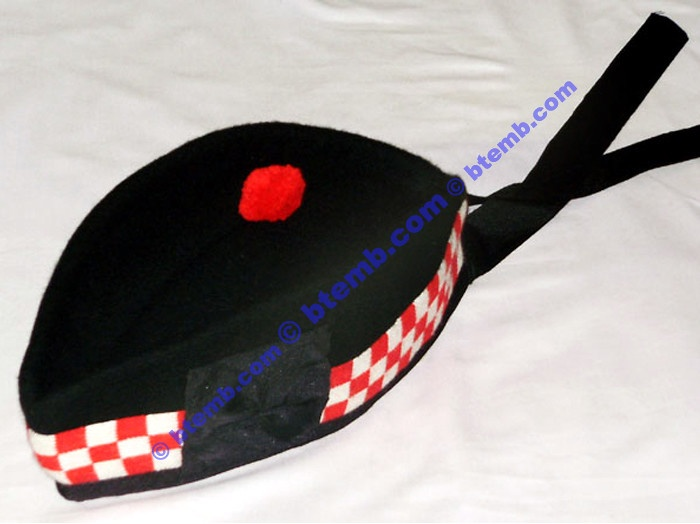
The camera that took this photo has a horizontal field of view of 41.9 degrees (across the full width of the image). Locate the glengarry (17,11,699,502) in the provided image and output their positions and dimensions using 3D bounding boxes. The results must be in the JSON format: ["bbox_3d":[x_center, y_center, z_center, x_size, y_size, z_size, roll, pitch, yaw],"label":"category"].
[{"bbox_3d":[0.024,-0.040,1.768,1.219,0.252,0.547,-29,63,-24],"label":"glengarry"}]
